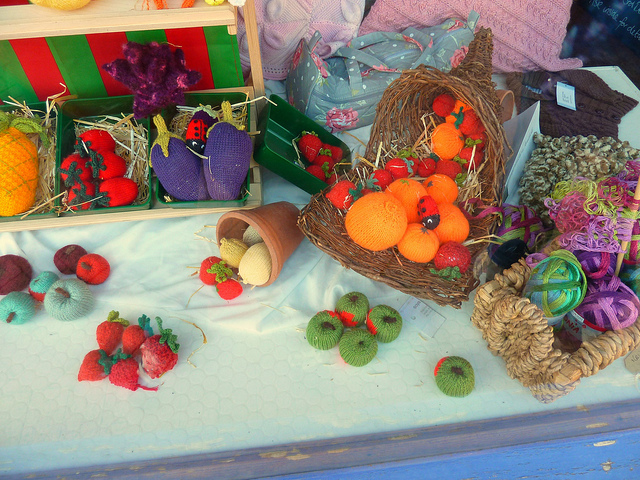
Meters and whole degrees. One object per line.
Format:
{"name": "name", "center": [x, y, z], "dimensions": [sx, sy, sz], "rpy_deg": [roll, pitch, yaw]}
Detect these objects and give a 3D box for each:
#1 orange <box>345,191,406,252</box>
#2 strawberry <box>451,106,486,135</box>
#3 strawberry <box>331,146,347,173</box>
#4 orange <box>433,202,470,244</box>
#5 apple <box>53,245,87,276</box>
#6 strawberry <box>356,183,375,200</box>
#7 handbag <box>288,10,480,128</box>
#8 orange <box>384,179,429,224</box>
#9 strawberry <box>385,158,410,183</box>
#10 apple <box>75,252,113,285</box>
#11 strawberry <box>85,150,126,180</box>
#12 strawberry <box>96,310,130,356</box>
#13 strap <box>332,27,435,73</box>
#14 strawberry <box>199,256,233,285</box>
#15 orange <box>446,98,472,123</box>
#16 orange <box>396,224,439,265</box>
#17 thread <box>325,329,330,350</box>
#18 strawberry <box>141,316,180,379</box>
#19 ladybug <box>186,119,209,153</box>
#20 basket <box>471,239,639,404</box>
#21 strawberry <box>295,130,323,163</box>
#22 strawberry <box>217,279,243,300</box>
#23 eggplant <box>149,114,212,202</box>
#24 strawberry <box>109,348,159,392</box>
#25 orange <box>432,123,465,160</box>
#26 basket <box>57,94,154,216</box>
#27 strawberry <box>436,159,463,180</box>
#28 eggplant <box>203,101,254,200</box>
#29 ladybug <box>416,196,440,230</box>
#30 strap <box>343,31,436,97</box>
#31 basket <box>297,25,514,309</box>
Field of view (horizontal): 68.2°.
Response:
{"name": "orange", "center": [0.152, -0.059, 1.254], "dimensions": [0.138, 0.151, 0.143], "rpy_deg": [-15, 82, -50]}
{"name": "strawberry", "center": [0.405, -0.329, 1.292], "dimensions": [0.074, 0.047, 0.047], "rpy_deg": [22, 44, -38]}
{"name": "strawberry", "center": [0.065, -0.258, 1.523], "dimensions": [0.042, 0.078, 0.041], "rpy_deg": [-1, 22, 21]}
{"name": "orange", "center": [0.333, -0.037, 1.265], "dimensions": [0.093, 0.088, 0.093], "rpy_deg": [25, 50, 28]}
{"name": "apple", "center": [-0.706, 0.053, 1.345], "dimensions": [0.080, 0.075, 0.080], "rpy_deg": [-9, 54, -32]}
{"name": "strawberry", "center": [0.124, -0.136, 1.290], "dimensions": [0.046, 0.036, 0.040], "rpy_deg": [-7, 67, -9]}
{"name": "handbag", "center": [0.192, -0.584, 1.770], "dimensions": [0.677, 0.273, 0.381], "rpy_deg": [-22, 65, -2]}
{"name": "orange", "center": [0.212, -0.110, 1.281], "dimensions": [0.132, 0.133, 0.134], "rpy_deg": [6, 16, 23]}
{"name": "strawberry", "center": [0.223, -0.197, 1.357], "dimensions": [0.059, 0.058, 0.069], "rpy_deg": [-40, 75, 0]}
{"name": "apple", "center": [-0.630, 0.085, 1.355], "dimensions": [0.088, 0.086, 0.090], "rpy_deg": [3, 84, -2]}
{"name": "strawberry", "center": [-0.630, -0.219, 1.382], "dimensions": [0.084, 0.077, 0.111], "rpy_deg": [-7, 90, -38]}
{"name": "strawberry", "center": [-0.563, 0.256, 1.262], "dimensions": [0.072, 0.076, 0.120], "rpy_deg": [-7, 65, 41]}
{"name": "strap", "center": [0.224, -0.618, 1.665], "dimensions": [0.325, 0.085, 0.200], "rpy_deg": [-15, 66, 0]}
{"name": "strawberry", "center": [-0.291, 0.084, 1.306], "dimensions": [0.078, 0.094, 0.078], "rpy_deg": [31, 70, -11]}
{"name": "orange", "center": [0.393, -0.361, 1.354], "dimensions": [0.058, 0.059, 0.071], "rpy_deg": [-3, 31, 34]}
{"name": "orange", "center": [0.251, 0.020, 1.248], "dimensions": [0.093, 0.086, 0.093], "rpy_deg": [15, 24, -40]}
{"name": "thread", "center": [0.021, 0.263, 1.234], "dimensions": [0.010, 0.046, 0.008], "rpy_deg": [-3, 26, 17]}
{"name": "strawberry", "center": [-0.423, 0.283, 1.229], "dimensions": [0.101, 0.149, 0.089], "rpy_deg": [21, 20, 26]}
{"name": "ladybug", "center": [-0.348, -0.297, 1.341], "dimensions": [0.059, 0.033, 0.101], "rpy_deg": [4, 69, -17]}
{"name": "basket", "center": [0.496, 0.240, 1.216], "dimensions": [0.429, 0.212, 0.363], "rpy_deg": [15, 57, 14]}
{"name": "strawberry", "center": [-0.032, -0.296, 1.478], "dimensions": [0.078, 0.085, 0.090], "rpy_deg": [-5, 89, -12]}
{"name": "strawberry", "center": [-0.249, 0.136, 1.307], "dimensions": [0.062, 0.049, 0.051], "rpy_deg": [1, 83, -3]}
{"name": "eggplant", "center": [-0.376, -0.222, 1.365], "dimensions": [0.140, 0.105, 0.237], "rpy_deg": [-23, 91, 13]}
{"name": "strawberry", "center": [-0.481, 0.344, 1.203], "dimensions": [0.126, 0.088, 0.073], "rpy_deg": [27, 53, 21]}
{"name": "orange", "center": [0.356, -0.277, 1.368], "dimensions": [0.086, 0.089, 0.091], "rpy_deg": [-28, 60, 11]}
{"name": "basket", "center": [-0.704, -0.256, 1.507], "dimensions": [0.335, 0.113, 0.378], "rpy_deg": [-3, 82, -9]}
{"name": "strawberry", "center": [0.358, -0.202, 1.318], "dimensions": [0.067, 0.056, 0.058], "rpy_deg": [1, 65, 5]}
{"name": "eggplant", "center": [-0.272, -0.249, 1.385], "dimensions": [0.141, 0.094, 0.262], "rpy_deg": [10, 82, -19]}
{"name": "ladybug", "center": [0.273, -0.068, 1.194], "dimensions": [0.052, 0.034, 0.082], "rpy_deg": [-15, 63, 14]}
{"name": "strap", "center": [0.238, -0.642, 1.696], "dimensions": [0.312, 0.110, 0.229], "rpy_deg": [-24, 68, 9]}
{"name": "basket", "center": [0.356, -0.206, 1.406], "dimensions": [0.501, 0.355, 0.834], "rpy_deg": [23, 67, 25]}
